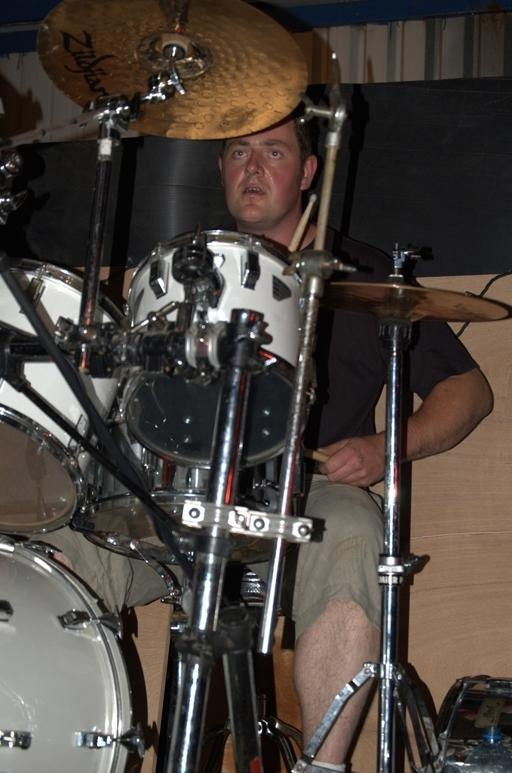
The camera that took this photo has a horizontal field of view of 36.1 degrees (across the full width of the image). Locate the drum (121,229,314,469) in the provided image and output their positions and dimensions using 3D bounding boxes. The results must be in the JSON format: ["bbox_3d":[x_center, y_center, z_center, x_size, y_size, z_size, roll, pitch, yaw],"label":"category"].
[{"bbox_3d":[-0.062,-0.056,1.145,0.322,0.293,0.298,6,-53,-5],"label":"drum"}]
